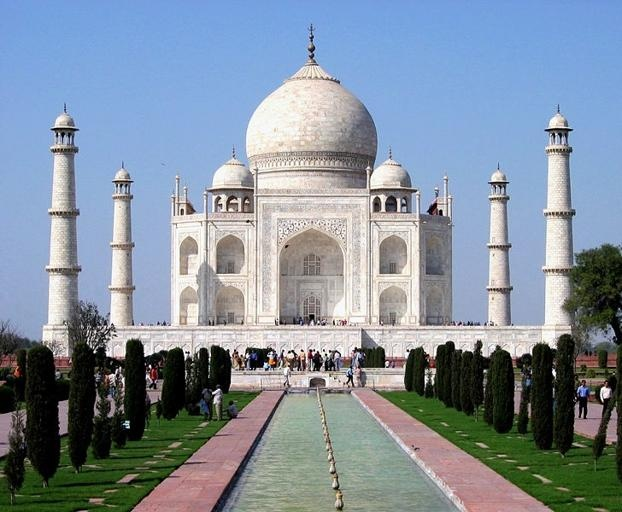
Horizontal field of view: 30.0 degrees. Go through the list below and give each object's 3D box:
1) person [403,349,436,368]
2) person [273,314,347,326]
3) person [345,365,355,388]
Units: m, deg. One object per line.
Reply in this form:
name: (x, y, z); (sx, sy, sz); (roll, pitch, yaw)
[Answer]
person: (3.137, 3.062, 34.151); (1.102, 0.477, 1.123); (0, -7, 0)
person: (0.098, 2.615, 47.336); (2.312, 0.365, 0.237); (4, -15, -14)
person: (1.132, 3.699, 35.011); (0.265, 0.560, 0.825); (-1, -7, 2)
